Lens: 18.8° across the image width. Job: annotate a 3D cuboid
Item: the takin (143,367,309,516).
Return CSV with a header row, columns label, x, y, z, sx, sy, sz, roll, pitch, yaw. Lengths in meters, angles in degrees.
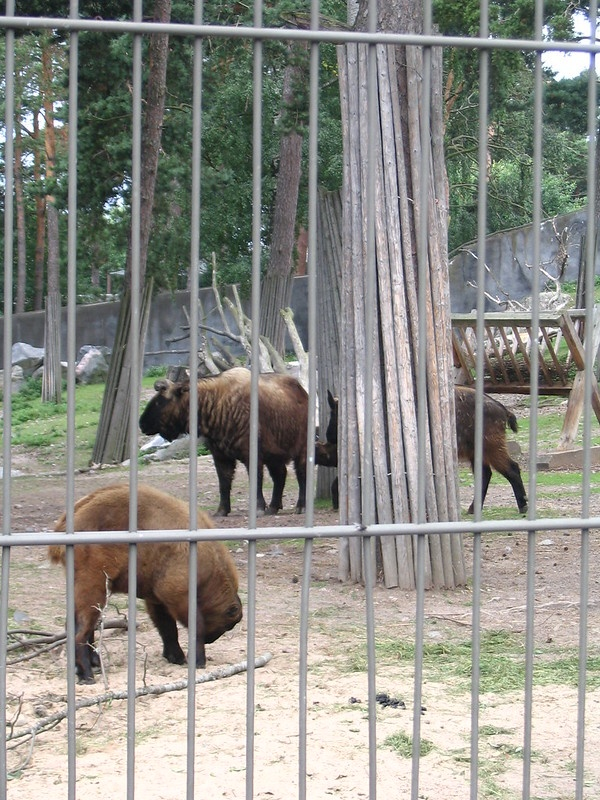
label,x,y,z,sx,sy,sz,roll,pitch,yaw
takin,-0.590,0.372,16.042,1.695,1.457,0.749,1,0,-31
